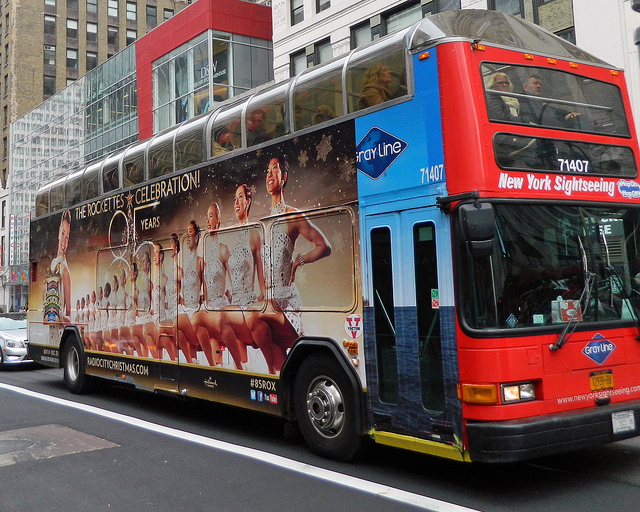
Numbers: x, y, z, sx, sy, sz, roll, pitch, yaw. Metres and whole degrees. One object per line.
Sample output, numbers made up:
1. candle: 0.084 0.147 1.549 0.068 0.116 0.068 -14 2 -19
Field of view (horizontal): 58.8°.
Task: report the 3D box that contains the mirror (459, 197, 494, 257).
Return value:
1. mirror: 1.432 -0.250 5.203 0.303 0.496 0.187 -2 -3 13
